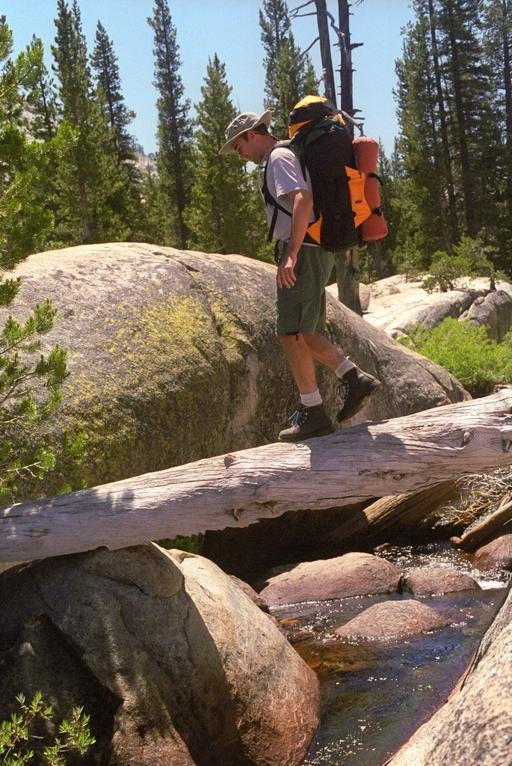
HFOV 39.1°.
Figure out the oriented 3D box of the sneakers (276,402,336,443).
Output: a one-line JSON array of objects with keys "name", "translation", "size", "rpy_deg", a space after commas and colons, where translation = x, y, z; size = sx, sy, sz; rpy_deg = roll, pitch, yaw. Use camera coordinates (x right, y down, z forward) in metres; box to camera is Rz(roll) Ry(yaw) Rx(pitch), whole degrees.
[{"name": "sneakers", "translation": [0.327, 0.225, 4.259], "size": [0.400, 0.257, 0.156], "rpy_deg": [-12, -3, 22]}]
